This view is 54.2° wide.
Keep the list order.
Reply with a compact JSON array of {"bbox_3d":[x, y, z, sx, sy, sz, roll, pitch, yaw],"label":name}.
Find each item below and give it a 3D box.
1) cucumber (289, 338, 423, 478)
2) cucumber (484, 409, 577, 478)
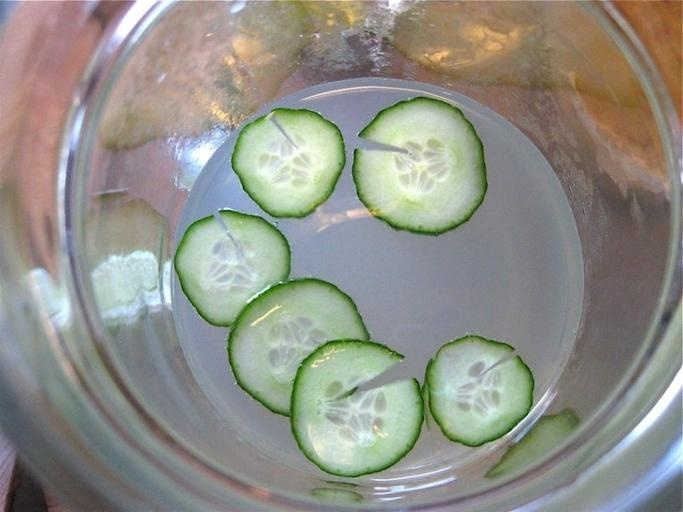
[{"bbox_3d":[0.032,0.312,1.368,0.271,0.193,0.185,9,-61,-4],"label":"cucumber"},{"bbox_3d":[0.385,0.364,1.304,0.080,0.250,0.013,-16,-79,47],"label":"cucumber"}]
